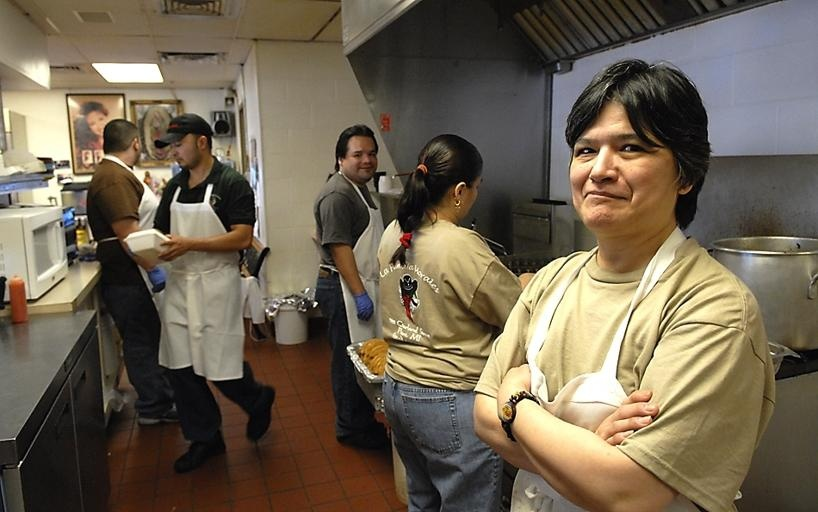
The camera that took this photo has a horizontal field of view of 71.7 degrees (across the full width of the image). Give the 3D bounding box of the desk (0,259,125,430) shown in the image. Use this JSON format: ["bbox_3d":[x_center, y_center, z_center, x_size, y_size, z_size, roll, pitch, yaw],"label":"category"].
[{"bbox_3d":[-1.864,0.436,3.032,0.431,0.662,1.174,1,8,-6],"label":"desk"}]

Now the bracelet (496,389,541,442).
[{"bbox_3d":[0.322,0.440,1.642,0.099,0.103,0.060,-8,18,-27],"label":"bracelet"}]

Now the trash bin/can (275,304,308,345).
[{"bbox_3d":[-1.127,0.679,5.699,0.367,0.342,0.361,-1,0,3],"label":"trash bin/can"}]

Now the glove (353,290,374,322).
[{"bbox_3d":[-0.288,0.308,3.530,0.135,0.148,0.173,11,10,18],"label":"glove"}]

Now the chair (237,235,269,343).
[{"bbox_3d":[-1.388,0.308,5.055,0.389,0.656,0.985,-2,11,-14],"label":"chair"}]

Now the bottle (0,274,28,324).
[{"bbox_3d":[-2.116,0.228,3.057,0.089,0.244,0.114,-13,19,-37],"label":"bottle"}]

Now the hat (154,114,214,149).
[{"bbox_3d":[-1.386,-0.772,3.472,0.230,0.191,0.345,-5,5,43],"label":"hat"}]
